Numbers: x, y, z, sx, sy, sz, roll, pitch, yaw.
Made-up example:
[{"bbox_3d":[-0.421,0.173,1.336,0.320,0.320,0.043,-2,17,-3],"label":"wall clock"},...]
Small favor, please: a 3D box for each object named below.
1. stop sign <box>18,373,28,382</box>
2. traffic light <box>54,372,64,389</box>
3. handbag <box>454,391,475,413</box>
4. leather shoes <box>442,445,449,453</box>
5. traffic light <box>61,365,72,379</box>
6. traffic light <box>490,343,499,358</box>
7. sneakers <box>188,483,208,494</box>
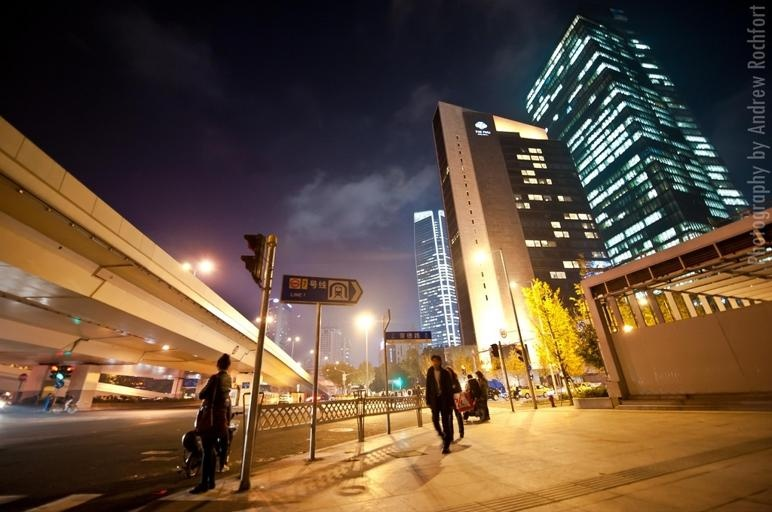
[{"bbox_3d":[-35.279,11.944,38.475,1.141,0.952,0.557,-15,-25,28],"label":"stop sign"},{"bbox_3d":[-27.988,10.711,34.018,0.683,1.123,1.759,15,-28,-37],"label":"traffic light"},{"bbox_3d":[3.285,6.287,17.035,0.963,0.869,0.761,1,-34,-6],"label":"handbag"},{"bbox_3d":[2.242,7.395,15.082,0.264,0.282,0.220,-5,-22,5],"label":"leather shoes"},{"bbox_3d":[-27.259,9.967,33.894,0.797,0.905,0.813,3,-23,-14],"label":"traffic light"},{"bbox_3d":[7.085,6.262,26.066,0.470,0.823,0.989,-10,-23,16],"label":"traffic light"},{"bbox_3d":[-6.293,7.758,13.188,0.648,0.257,0.236,3,-21,0],"label":"sneakers"}]
